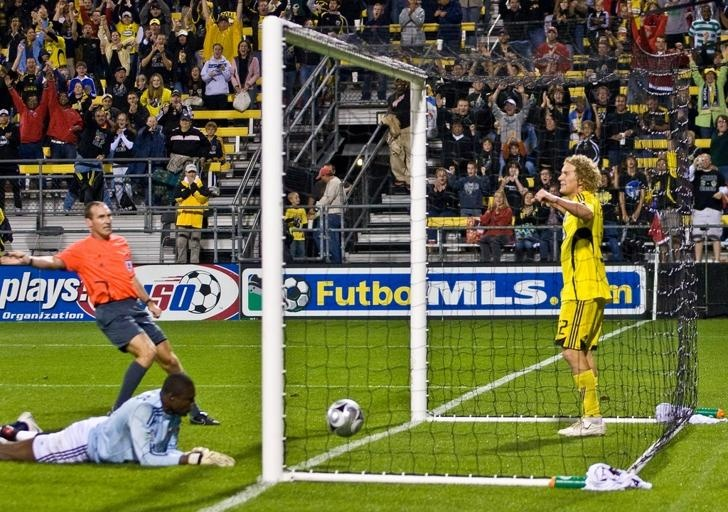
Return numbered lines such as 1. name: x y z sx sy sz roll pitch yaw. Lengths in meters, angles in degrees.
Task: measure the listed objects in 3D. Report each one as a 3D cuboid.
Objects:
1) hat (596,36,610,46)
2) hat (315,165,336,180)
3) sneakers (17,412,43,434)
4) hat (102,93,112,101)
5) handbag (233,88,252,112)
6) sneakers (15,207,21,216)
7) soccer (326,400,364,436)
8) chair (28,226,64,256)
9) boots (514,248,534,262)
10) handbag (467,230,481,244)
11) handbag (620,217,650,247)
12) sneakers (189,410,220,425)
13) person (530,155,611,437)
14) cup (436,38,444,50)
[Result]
1. hat: 3.458 -3.069 21.702 0.169 0.124 0.051 -2 10 -6
2. hat: -0.739 -1.543 28.605 0.333 0.176 0.220 -10 12 8
3. sneakers: -4.567 2.320 20.448 0.131 0.371 0.236 -44 -5 13
4. hat: -5.670 -3.456 33.219 0.273 0.131 0.391 0 -4 -19
5. handbag: -2.749 -3.423 33.789 0.483 0.628 0.407 7 4 -12
6. sneakers: -7.676 -0.942 33.431 0.186 0.179 0.060 0 -13 -11
7. soccer: -0.204 2.149 20.258 0.460 0.462 0.462 -3 19 16
8. chair: -6.907 -0.347 32.840 0.662 0.491 0.720 -2 40 -2
9. boots: 3.111 -0.022 29.357 0.299 0.300 0.300 1 9 -10
10. handbag: 2.105 -0.343 29.123 0.260 0.251 0.071 4 6 9
11. handbag: 4.882 -0.413 28.127 0.231 0.501 0.659 8 -3 -13
12. sneakers: -2.292 2.309 21.408 0.481 0.203 0.168 2 3 -4
13. person: 3.004 0.576 20.962 0.832 3.822 0.981 1 10 10
14. cup: 1.085 -3.006 21.689 0.100 0.159 0.156 -1 10 0
